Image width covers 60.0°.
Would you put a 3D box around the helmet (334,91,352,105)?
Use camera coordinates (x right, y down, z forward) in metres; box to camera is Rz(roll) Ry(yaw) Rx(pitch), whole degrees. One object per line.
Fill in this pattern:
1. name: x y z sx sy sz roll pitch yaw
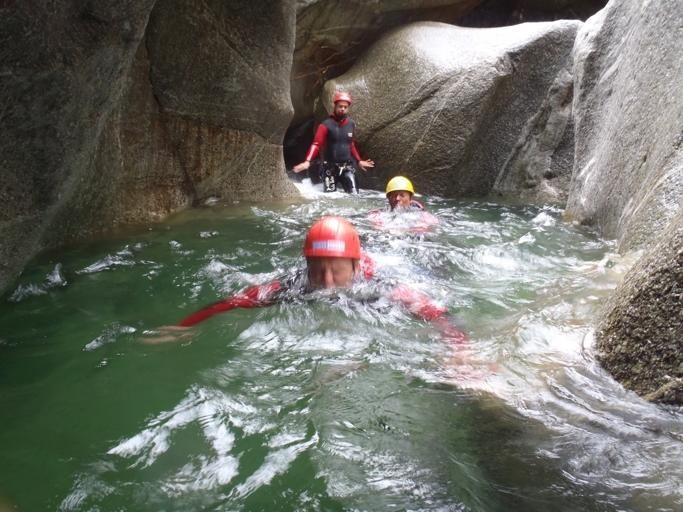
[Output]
1. helmet: 0.036 -2.493 9.403 0.292 0.197 0.394 8 9 -6

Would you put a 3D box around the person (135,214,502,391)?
1. person: -0.078 0.214 4.296 2.257 1.024 0.858 4 5 9

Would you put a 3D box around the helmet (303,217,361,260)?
1. helmet: -0.047 -0.160 4.432 0.468 0.322 0.599 5 3 22

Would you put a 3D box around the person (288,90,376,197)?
1. person: -0.007 -1.845 9.629 0.942 1.550 1.669 5 31 1

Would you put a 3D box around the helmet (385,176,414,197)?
1. helmet: 0.772 -0.912 7.709 0.304 0.197 0.403 1 3 7

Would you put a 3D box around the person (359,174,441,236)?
1. person: 0.760 -0.625 7.216 0.677 0.468 0.868 -2 10 6
